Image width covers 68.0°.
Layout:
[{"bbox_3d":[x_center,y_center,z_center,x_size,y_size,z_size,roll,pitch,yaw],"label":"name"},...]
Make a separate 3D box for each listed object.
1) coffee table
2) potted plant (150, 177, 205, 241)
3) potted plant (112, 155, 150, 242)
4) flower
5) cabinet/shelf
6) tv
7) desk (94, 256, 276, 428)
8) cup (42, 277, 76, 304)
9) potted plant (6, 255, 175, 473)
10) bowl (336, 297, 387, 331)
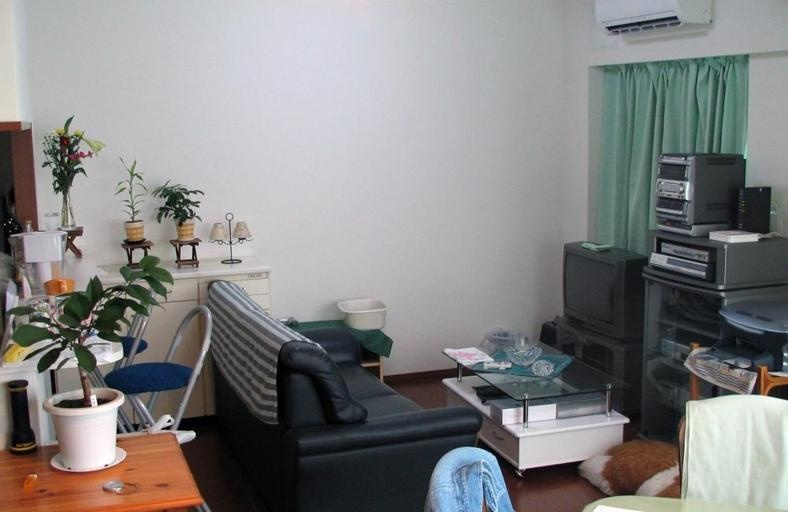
[{"bbox_3d":[1.050,1.146,4.646,0.972,0.584,1.257,-4,7,-20],"label":"coffee table"},{"bbox_3d":[-1.819,-0.325,4.939,0.369,0.379,0.334,-9,-5,14],"label":"potted plant"},{"bbox_3d":[-2.188,-0.479,4.868,0.248,0.719,0.331,-9,9,-24],"label":"potted plant"},{"bbox_3d":[-2.578,-0.696,4.700,0.447,0.898,0.448,-10,10,-30],"label":"flower"},{"bbox_3d":[-0.436,0.731,5.303,0.662,0.534,0.649,-3,7,-27],"label":"cabinet/shelf"},{"bbox_3d":[1.894,0.294,5.157,0.506,0.730,0.853,-5,11,-17],"label":"tv"},{"bbox_3d":[-1.363,0.716,3.552,0.707,0.938,0.518,-7,35,-33],"label":"desk"},{"bbox_3d":[-1.837,0.190,3.178,0.172,0.120,0.143,5,5,33],"label":"cup"},{"bbox_3d":[-1.267,0.459,3.037,0.984,1.148,0.847,1,1,-17],"label":"potted plant"},{"bbox_3d":[-0.271,0.530,5.339,0.382,0.146,0.297,-2,12,-10],"label":"bowl"}]
